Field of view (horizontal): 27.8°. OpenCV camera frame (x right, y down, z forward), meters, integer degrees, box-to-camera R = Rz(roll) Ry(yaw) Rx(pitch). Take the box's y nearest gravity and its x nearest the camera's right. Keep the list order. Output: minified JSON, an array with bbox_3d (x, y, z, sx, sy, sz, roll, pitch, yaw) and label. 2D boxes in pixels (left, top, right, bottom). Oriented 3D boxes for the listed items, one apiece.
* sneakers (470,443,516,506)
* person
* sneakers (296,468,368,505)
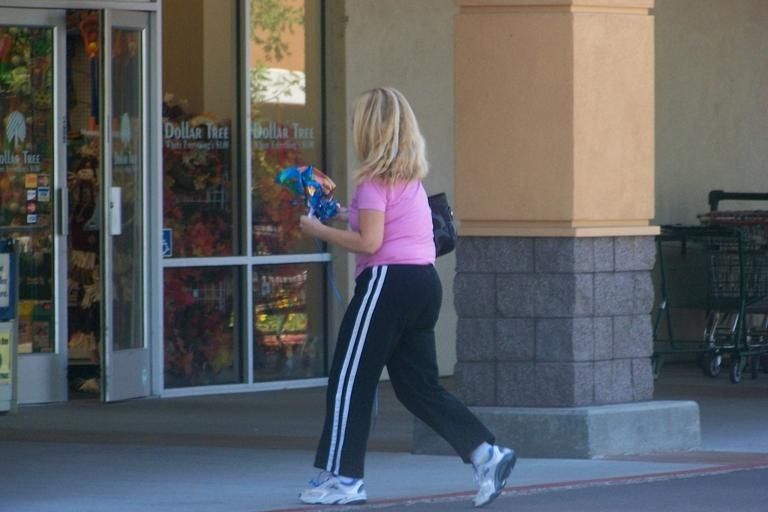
[{"bbox_3d":[0.798,1.610,11.519,0.294,0.560,0.203,18,18,-1],"label":"sneakers"},{"bbox_3d":[0.069,0.319,11.472,1.435,3.057,0.637,-1,12,-2],"label":"person"},{"bbox_3d":[-0.367,1.734,11.582,0.570,0.257,0.203,3,-4,-1],"label":"sneakers"}]
